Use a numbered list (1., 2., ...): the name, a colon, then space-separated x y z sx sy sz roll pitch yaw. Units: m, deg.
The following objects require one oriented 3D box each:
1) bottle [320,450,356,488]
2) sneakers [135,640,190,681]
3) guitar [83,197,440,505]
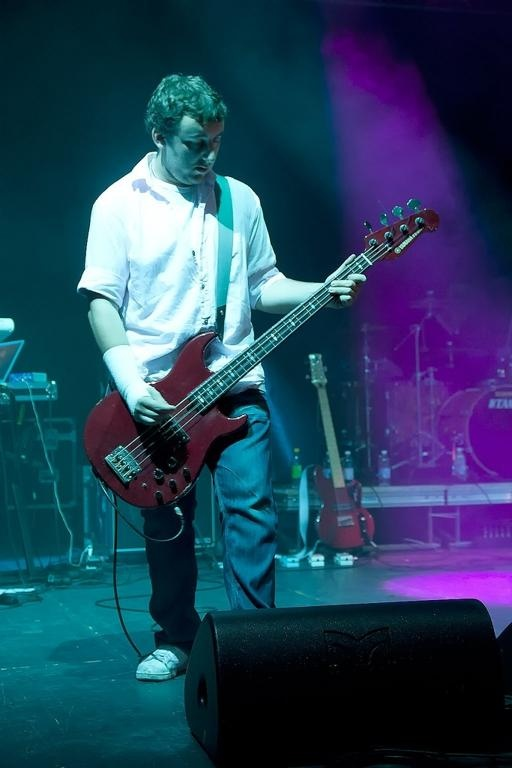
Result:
1. bottle: 0.615 0.681 5.690 0.338 0.311 0.185 -3 1 0
2. sneakers: -0.287 0.876 2.270 0.074 0.071 0.189 -9 -17 27
3. guitar: -0.020 -0.090 2.031 0.894 0.843 0.297 0 -8 -13
